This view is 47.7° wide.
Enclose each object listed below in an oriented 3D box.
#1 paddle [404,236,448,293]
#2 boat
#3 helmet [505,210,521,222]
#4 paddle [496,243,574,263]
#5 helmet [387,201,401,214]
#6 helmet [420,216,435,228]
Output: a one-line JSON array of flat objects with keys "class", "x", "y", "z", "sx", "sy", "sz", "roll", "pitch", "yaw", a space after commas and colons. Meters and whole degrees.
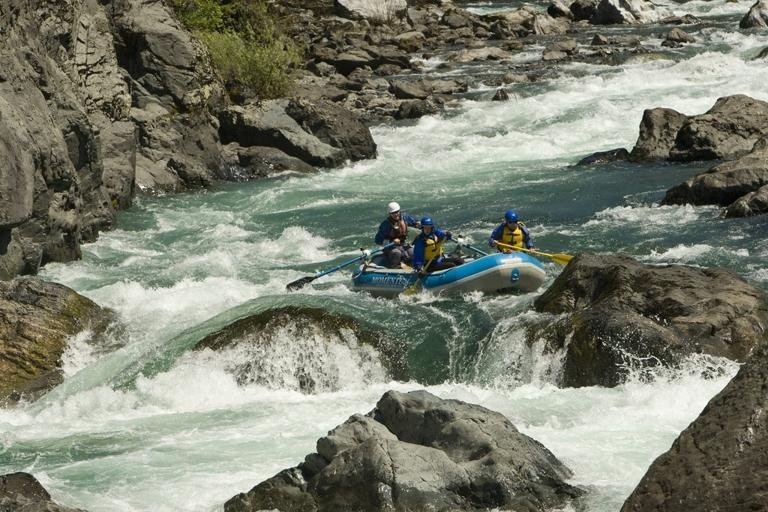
[{"class": "paddle", "x": 0.835, "y": 0.189, "z": 18.261, "sx": 1.729, "sy": 0.459, "sz": 0.350, "roll": -58, "pitch": 3, "yaw": -38}, {"class": "boat", "x": 1.410, "y": 0.437, "z": 18.031, "sx": 2.764, "sy": 0.605, "sz": 1.452, "roll": -5, "pitch": 0, "yaw": 28}, {"class": "helmet", "x": 2.739, "y": -0.857, "z": 18.662, "sx": 0.254, "sy": 0.254, "sz": 0.314, "roll": -10, "pitch": 11, "yaw": -12}, {"class": "paddle", "x": 3.154, "y": -0.071, "z": 18.437, "sx": 2.252, "sy": 0.304, "sz": 0.160, "roll": 6, "pitch": -19, "yaw": 41}, {"class": "helmet", "x": 0.161, "y": -1.090, "z": 19.174, "sx": 0.257, "sy": 0.253, "sz": 0.331, "roll": -26, "pitch": 11, "yaw": -36}, {"class": "helmet", "x": 0.879, "y": -0.764, "z": 18.349, "sx": 0.237, "sy": 0.181, "sz": 0.387, "roll": -7, "pitch": 17, "yaw": 7}]
